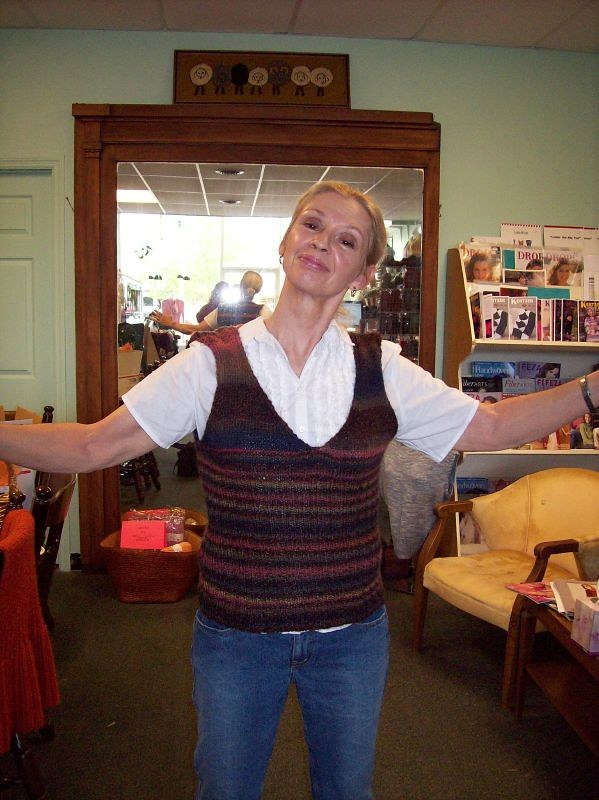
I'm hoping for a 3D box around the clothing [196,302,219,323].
[{"bbox_3d":[-0.529,-0.487,3.523,0.096,0.123,0.111,-2,-3,-33],"label":"clothing"}]

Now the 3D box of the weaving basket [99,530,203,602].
[{"bbox_3d":[-0.737,0.886,3.156,0.519,0.241,0.437,0,-11,6],"label":"weaving basket"}]
